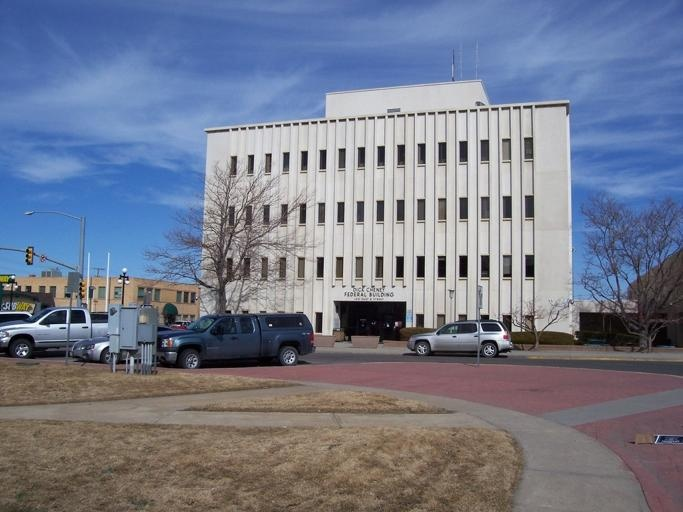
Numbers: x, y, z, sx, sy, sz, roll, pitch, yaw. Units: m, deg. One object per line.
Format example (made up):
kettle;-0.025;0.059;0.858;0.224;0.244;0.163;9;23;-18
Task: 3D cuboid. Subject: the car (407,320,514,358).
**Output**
car;5.997;4.227;31.934;4.637;1.780;2.084;1;-7;14

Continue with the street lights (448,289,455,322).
street lights;8.205;3.609;46.457;0.399;2.276;0.508;1;-3;10
